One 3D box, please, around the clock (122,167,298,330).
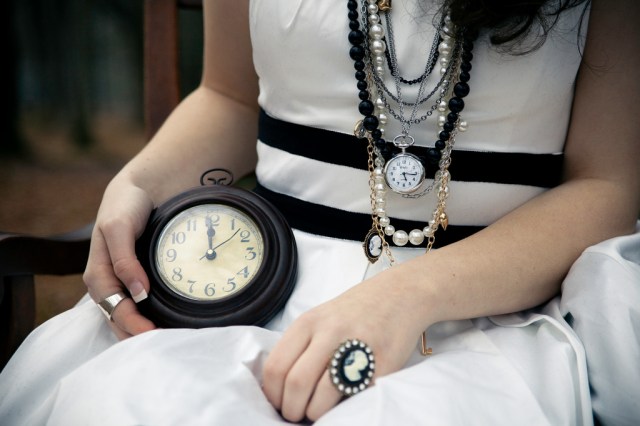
[{"bbox_3d":[-0.254,0.112,1.512,0.312,0.109,0.353,-2,71,5],"label":"clock"}]
